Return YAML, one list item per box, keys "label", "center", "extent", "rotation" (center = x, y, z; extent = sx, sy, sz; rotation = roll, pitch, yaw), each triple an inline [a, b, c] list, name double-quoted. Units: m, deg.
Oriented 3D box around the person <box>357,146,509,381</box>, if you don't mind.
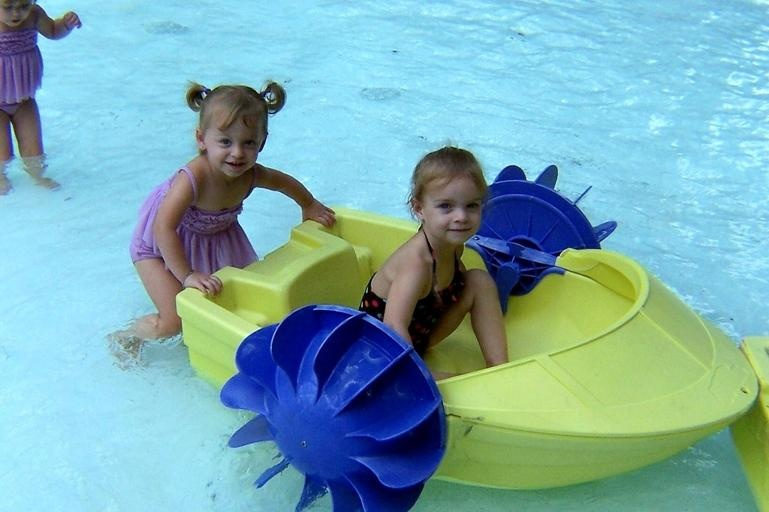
- label: "person"
  center: [0.162, 0.024, 2.517]
  extent: [0.559, 0.773, 0.539]
  rotation: [-4, 8, -34]
